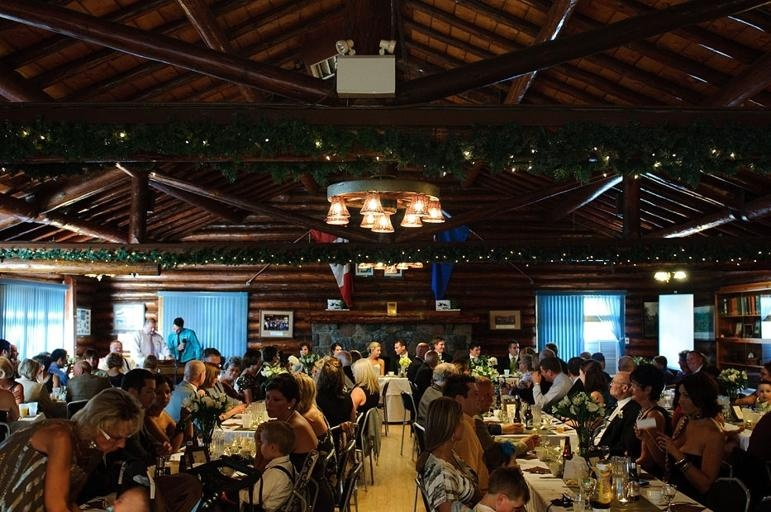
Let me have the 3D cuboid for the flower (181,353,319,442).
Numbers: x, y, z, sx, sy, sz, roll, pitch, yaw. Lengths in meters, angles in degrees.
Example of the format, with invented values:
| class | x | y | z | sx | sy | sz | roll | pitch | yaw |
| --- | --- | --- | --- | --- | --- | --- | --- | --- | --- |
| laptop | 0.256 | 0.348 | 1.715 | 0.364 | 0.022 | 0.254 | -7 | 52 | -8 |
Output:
| class | x | y | z | sx | sy | sz | roll | pitch | yaw |
| --- | --- | --- | --- | --- | --- | --- | --- | --- | --- |
| flower | -1.646 | 1.687 | 8.065 | 0.971 | 1.003 | 0.795 | 0 | -4 | 24 |

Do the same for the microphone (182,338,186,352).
| class | x | y | z | sx | sy | sz | roll | pitch | yaw |
| --- | --- | --- | --- | --- | --- | --- | --- | --- | --- |
| microphone | -4.406 | 1.929 | 14.789 | 0.046 | 0.156 | 0.116 | 5 | -5 | 7 |

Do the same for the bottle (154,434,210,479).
| class | x | y | z | sx | sy | sz | roll | pitch | yaw |
| --- | --- | --- | --- | --- | --- | --- | --- | --- | --- |
| bottle | -2.009 | 1.968 | 6.554 | 0.456 | 0.260 | 0.444 | -5 | -5 | 0 |

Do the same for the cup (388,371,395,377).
| class | x | y | z | sx | sy | sz | roll | pitch | yaw |
| --- | --- | --- | --- | --- | --- | --- | --- | --- | --- |
| cup | 0.104 | 2.425 | 13.982 | 0.101 | 0.071 | 0.107 | 0 | -10 | 0 |

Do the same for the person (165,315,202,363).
| class | x | y | z | sx | sy | sz | roll | pitch | yaw |
| --- | --- | --- | --- | --- | --- | --- | --- | --- | --- |
| person | -4.490 | 1.890 | 14.971 | 0.780 | 0.959 | 0.586 | -2 | 10 | 12 |

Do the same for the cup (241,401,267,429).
| class | x | y | z | sx | sy | sz | roll | pitch | yaw |
| --- | --- | --- | --- | --- | --- | --- | --- | --- | --- |
| cup | -1.616 | 1.958 | 8.335 | 0.302 | 0.300 | 0.329 | 1 | -11 | 0 |

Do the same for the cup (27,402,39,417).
| class | x | y | z | sx | sy | sz | roll | pitch | yaw |
| --- | --- | --- | --- | --- | --- | --- | --- | --- | --- |
| cup | -4.961 | 2.134 | 9.505 | 0.175 | 0.166 | 0.172 | 0 | -11 | 0 |

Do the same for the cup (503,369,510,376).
| class | x | y | z | sx | sy | sz | roll | pitch | yaw |
| --- | --- | --- | --- | --- | --- | --- | --- | --- | --- |
| cup | 2.487 | 2.387 | 13.928 | 0.118 | 0.145 | 0.117 | 2 | -6 | 0 |

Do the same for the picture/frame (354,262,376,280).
| class | x | y | z | sx | sy | sz | roll | pitch | yaw |
| --- | --- | --- | --- | --- | --- | --- | --- | --- | --- |
| picture/frame | -0.464 | 0.373 | 15.934 | 0.589 | 0.295 | 0.564 | 0 | 2 | 3 |

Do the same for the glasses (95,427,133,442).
| class | x | y | z | sx | sy | sz | roll | pitch | yaw |
| --- | --- | --- | --- | --- | --- | --- | --- | --- | --- |
| glasses | -2.150 | 1.412 | 5.336 | 0.149 | 0.042 | 0.150 | 25 | 3 | 41 |

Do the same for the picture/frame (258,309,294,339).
| class | x | y | z | sx | sy | sz | roll | pitch | yaw |
| --- | --- | --- | --- | --- | --- | --- | --- | --- | --- |
| picture/frame | -2.616 | 1.655 | 16.329 | 0.754 | 0.583 | 0.071 | 0 | -9 | 1 |

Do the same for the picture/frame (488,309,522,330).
| class | x | y | z | sx | sy | sz | roll | pitch | yaw |
| --- | --- | --- | --- | --- | --- | --- | --- | --- | --- |
| picture/frame | 2.852 | 1.545 | 16.318 | 0.724 | 0.467 | 0.146 | -1 | -7 | 5 |

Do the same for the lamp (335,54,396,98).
| class | x | y | z | sx | sy | sz | roll | pitch | yaw |
| --- | --- | --- | --- | --- | --- | --- | --- | --- | --- |
| lamp | -0.185 | -1.738 | 6.636 | 0.765 | 0.440 | 0.377 | 0 | 2 | 3 |
